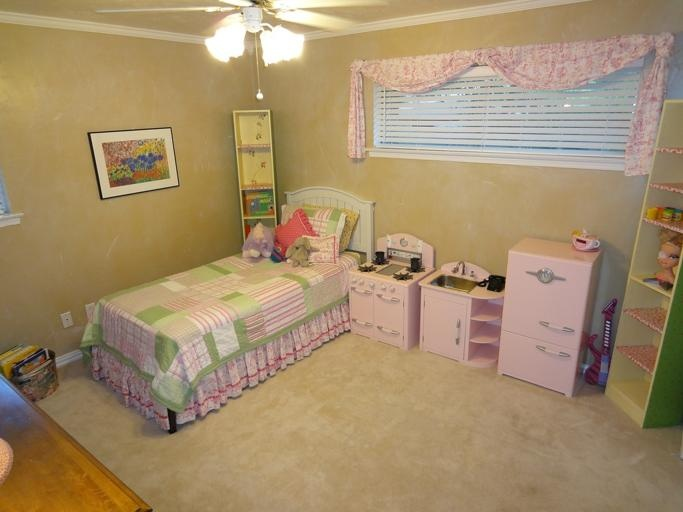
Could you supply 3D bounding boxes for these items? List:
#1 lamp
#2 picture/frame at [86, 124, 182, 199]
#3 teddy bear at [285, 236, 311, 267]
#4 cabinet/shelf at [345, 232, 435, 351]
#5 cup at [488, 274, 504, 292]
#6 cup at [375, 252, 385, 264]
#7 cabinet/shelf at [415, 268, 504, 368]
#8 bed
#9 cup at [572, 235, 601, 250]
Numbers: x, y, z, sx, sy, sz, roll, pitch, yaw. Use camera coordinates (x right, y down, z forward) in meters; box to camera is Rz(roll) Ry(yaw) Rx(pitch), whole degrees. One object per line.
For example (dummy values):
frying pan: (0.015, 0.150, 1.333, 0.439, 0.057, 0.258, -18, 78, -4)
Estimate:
lamp: (-0.501, -1.470, 3.365, 0.729, 0.363, 0.754, 7, 18, 30)
picture/frame: (-2.104, -0.951, 4.908, 0.014, 0.562, 0.718, 10, 22, 39)
teddy bear: (-0.426, -0.034, 5.039, 0.278, 0.391, 0.263, 1, -1, -27)
cabinet/shelf: (0.515, 0.393, 4.918, 0.812, 1.220, 0.599, 13, 20, 39)
cup: (1.421, 0.255, 4.518, 0.108, 0.063, 0.110, -23, 46, 25)
cup: (0.401, 0.015, 5.201, 0.112, 0.082, 0.116, 1, 6, 0)
cabinet/shelf: (1.130, 0.609, 4.602, 0.688, 0.758, 0.370, 11, 19, 35)
bed: (-0.968, 0.371, 4.784, 1.404, 1.385, 2.326, 18, 28, 37)
cup: (1.997, -0.101, 4.028, 0.116, 0.083, 0.164, 3, 15, 29)
